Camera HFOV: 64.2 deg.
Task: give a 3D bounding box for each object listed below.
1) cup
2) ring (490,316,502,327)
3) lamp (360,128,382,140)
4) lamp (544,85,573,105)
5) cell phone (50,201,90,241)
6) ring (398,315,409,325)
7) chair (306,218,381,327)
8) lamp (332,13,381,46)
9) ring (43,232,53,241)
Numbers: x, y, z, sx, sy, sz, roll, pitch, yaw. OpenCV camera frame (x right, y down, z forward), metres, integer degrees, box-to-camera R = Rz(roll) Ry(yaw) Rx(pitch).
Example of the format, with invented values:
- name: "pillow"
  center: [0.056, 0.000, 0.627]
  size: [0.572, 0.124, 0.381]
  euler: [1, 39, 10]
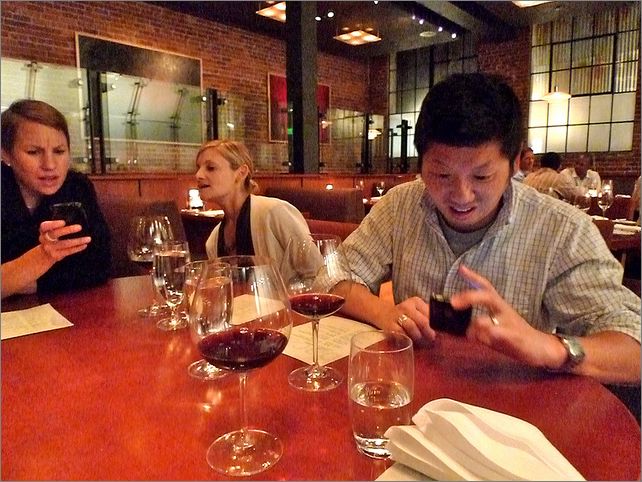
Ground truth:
- name: "cup"
  center: [0.117, 0.307, 0.998]
  size: [0.123, 0.212, 0.087]
  euler: [0, 14, 9]
- name: "ring"
  center: [0.426, 0.198, 1.256]
  size: [0.017, 0.004, 0.017]
  euler: [-19, 52, 27]
- name: "lamp"
  center: [0.797, -1.686, 8.152]
  size: [0.243, 0.097, 0.259]
  euler: [-1, -3, -7]
- name: "lamp"
  center: [3.924, -2.400, 8.625]
  size: [0.409, 0.312, 0.448]
  euler: [0, -3, 5]
- name: "cell phone"
  center: [-0.817, -0.061, 1.677]
  size: [0.105, 0.117, 0.088]
  euler: [-10, 16, -28]
- name: "ring"
  center: [0.222, 0.215, 1.386]
  size: [0.021, 0.018, 0.022]
  euler: [-4, 2, 0]
- name: "chair"
  center: [0.079, 0.107, 1.571]
  size: [0.238, 0.285, 0.268]
  euler: [-4, 9, -27]
- name: "lamp"
  center: [0.645, -3.611, 8.833]
  size: [0.788, 0.317, 0.806]
  euler: [11, 20, 41]
- name: "ring"
  center: [-0.880, -0.012, 1.667]
  size: [0.035, 0.034, 0.012]
  euler: [1, 14, 12]
